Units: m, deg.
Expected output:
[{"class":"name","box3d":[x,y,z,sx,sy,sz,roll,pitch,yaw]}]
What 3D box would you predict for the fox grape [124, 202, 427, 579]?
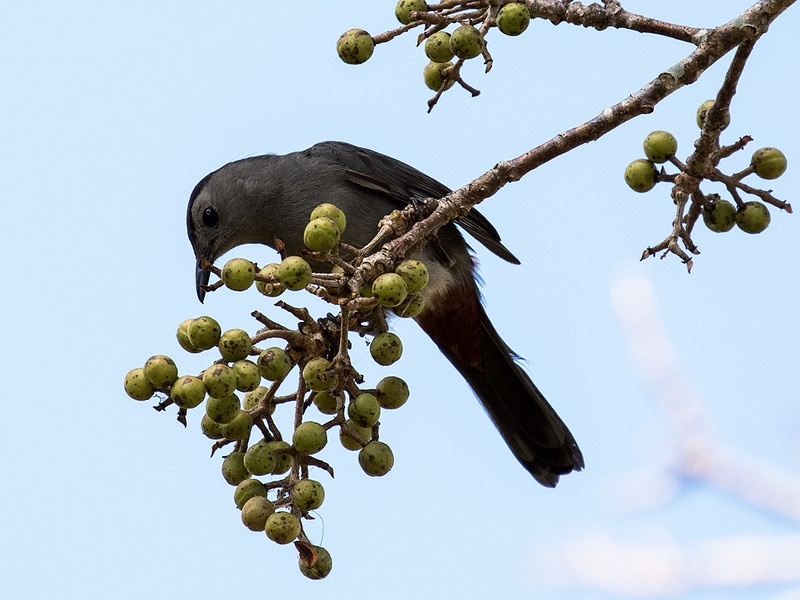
[{"class":"fox grape","box3d":[-0.436,0.261,4.835,0.768,1.721,1.050,4,-6,29]}]
